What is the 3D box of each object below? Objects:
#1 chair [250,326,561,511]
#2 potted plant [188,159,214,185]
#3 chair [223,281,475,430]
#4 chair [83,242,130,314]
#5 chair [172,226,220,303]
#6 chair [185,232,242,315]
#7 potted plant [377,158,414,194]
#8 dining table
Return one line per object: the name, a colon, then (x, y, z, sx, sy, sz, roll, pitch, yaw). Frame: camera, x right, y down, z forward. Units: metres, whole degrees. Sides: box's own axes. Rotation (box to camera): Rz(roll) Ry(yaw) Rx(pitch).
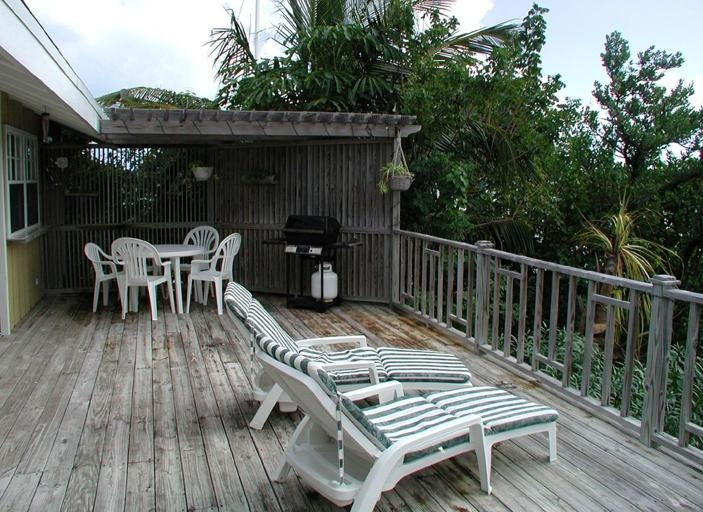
chair: (0.437, 1.057, 3.249, 1.450, 0.745, 1.216, -6, 10, -29)
potted plant: (-2.625, -1.473, 8.619, 0.329, 0.262, 0.360, -1, 3, -1)
chair: (0.013, 0.827, 4.005, 2.015, 1.133, 1.064, -4, 7, -17)
chair: (-3.543, 0.314, 7.179, 0.577, 0.931, 0.550, 2, 6, -1)
chair: (-2.468, 0.090, 8.235, 0.594, 1.020, 0.708, 6, 12, -17)
chair: (-2.060, 0.210, 7.306, 0.609, 1.196, 0.658, 5, 7, 8)
potted plant: (0.649, -1.180, 7.412, 0.503, 0.492, 0.443, 1, 9, 3)
dining table: (-2.635, 0.225, 7.445, 0.835, 1.079, 0.925, -1, 9, -11)
